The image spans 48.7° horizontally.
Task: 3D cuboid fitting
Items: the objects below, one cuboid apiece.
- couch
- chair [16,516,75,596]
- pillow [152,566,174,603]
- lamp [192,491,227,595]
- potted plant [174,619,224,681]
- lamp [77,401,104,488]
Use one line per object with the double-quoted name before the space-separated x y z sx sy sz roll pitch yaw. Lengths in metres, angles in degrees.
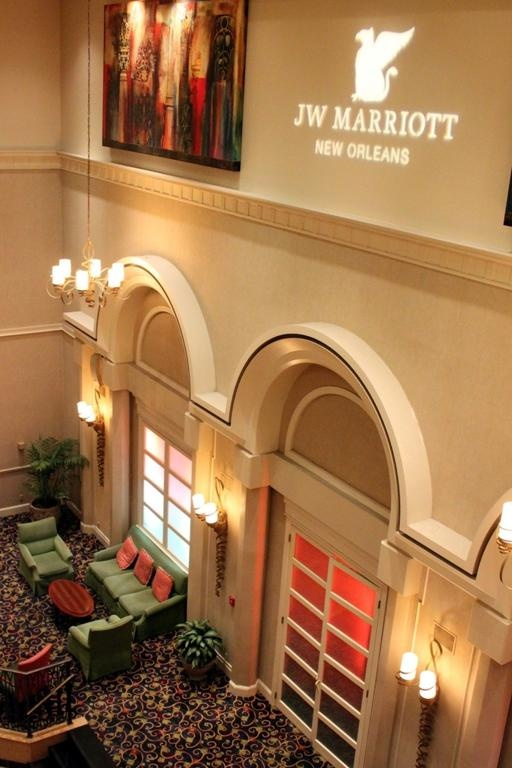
"couch" -1.929 3.451 9.447 0.965 1.200 2.221 -11 39 -32
"chair" -3.890 3.144 10.421 0.765 0.927 1.224 -5 13 -34
"pillow" -1.505 3.259 9.235 0.140 0.476 0.373 8 1 -35
"lamp" -0.677 2.268 7.884 0.429 1.562 0.514 -5 11 -33
"potted plant" -0.821 3.888 8.166 0.678 0.784 0.623 1 10 -4
"lamp" -3.184 1.194 11.061 0.473 1.786 0.426 -3 10 -23
